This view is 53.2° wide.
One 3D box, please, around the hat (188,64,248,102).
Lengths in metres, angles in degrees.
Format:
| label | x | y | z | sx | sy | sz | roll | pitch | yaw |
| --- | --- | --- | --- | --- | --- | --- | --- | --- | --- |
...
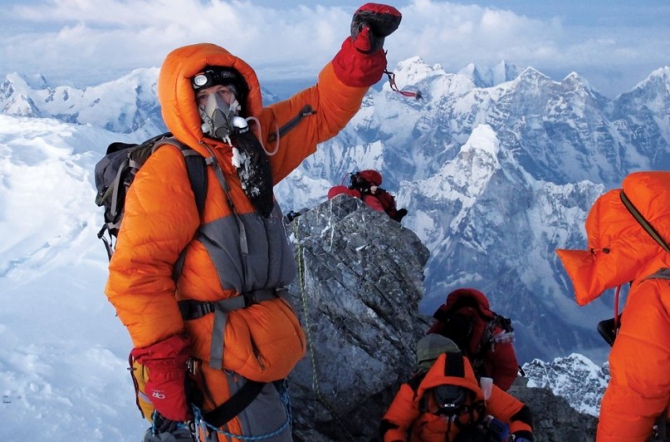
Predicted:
| label | x | y | z | sx | sy | sz | roll | pitch | yaw |
| --- | --- | --- | --- | --- | --- | --- | --- | --- | --- |
| hat | -1.880 | -2.215 | 10.972 | 0.685 | 0.264 | 0.548 | 1 | -2 | -27 |
